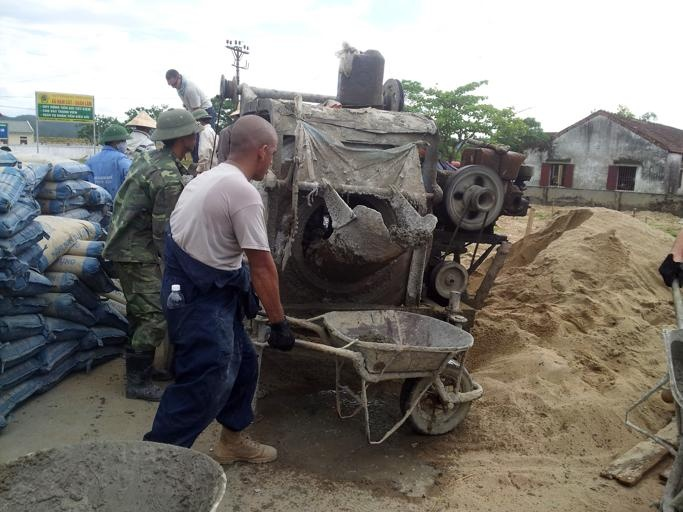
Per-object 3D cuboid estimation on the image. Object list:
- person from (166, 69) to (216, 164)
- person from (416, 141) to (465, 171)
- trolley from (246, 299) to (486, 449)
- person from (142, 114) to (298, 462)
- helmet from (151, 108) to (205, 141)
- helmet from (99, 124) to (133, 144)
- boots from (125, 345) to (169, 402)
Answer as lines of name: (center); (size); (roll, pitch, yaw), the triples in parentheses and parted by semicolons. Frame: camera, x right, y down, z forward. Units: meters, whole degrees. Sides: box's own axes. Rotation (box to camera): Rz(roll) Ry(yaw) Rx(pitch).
person: (-2.272, -2.126, 8.694); (0.636, 1.517, 0.586); (-15, 20, -18)
person: (1.206, -1.207, 6.920); (0.752, 0.286, 0.559); (5, 10, -10)
trolley: (0.235, 0.951, 4.629); (2.114, 1.288, 1.182); (-1, 8, -24)
person: (-0.829, 0.354, 3.851); (0.959, 2.599, 0.555); (-3, 15, -21)
helmet: (-1.465, -1.188, 4.957); (0.471, 0.241, 0.366); (-13, 28, -17)
helmet: (-3.032, -1.582, 7.392); (0.316, 0.161, 0.308); (8, 16, 38)
boots: (-1.678, 1.041, 5.058); (0.493, 0.612, 0.281); (-2, 9, -25)
